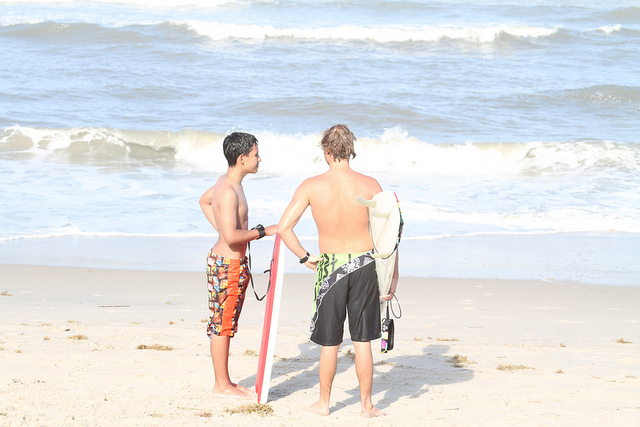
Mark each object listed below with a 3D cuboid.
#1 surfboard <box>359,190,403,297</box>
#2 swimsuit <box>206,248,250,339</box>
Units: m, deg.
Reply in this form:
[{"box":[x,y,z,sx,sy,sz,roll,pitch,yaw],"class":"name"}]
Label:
[{"box":[1.628,0.714,26.992,0.941,2.397,1.156,4,9,18],"class":"surfboard"},{"box":[-2.260,1.959,27.013,1.035,2.117,0.448,2,9,-4],"class":"swimsuit"}]
